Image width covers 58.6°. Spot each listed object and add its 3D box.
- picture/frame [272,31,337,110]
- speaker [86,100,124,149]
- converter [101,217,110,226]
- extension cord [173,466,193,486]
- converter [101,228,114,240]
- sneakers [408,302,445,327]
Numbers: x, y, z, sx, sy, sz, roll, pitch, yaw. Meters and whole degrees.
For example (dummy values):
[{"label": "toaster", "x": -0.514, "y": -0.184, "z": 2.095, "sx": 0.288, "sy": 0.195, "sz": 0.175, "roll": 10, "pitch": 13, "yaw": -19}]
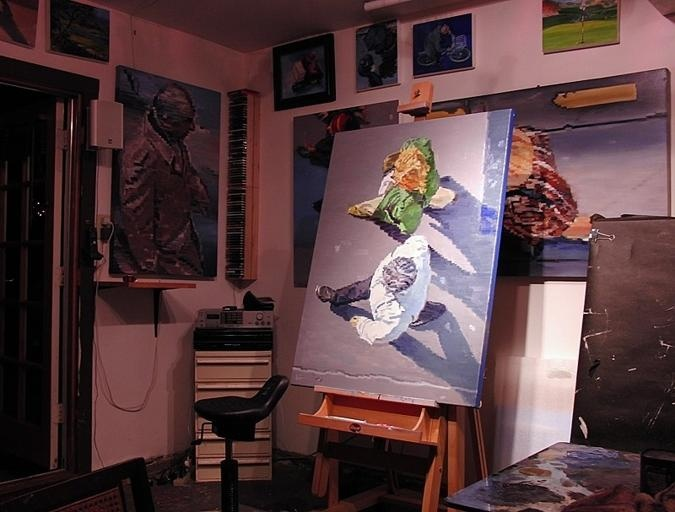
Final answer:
[{"label": "picture/frame", "x": -0.239, "y": -1.483, "z": 4.771, "sx": 0.714, "sy": 0.559, "sz": 0.070, "roll": 0, "pitch": 4, "yaw": 31}, {"label": "speaker", "x": -1.601, "y": -0.900, "z": 4.142, "sx": 0.218, "sy": 0.326, "sz": 0.110, "roll": 2, "pitch": -2, "yaw": -27}, {"label": "converter", "x": -1.632, "y": -0.247, "z": 4.220, "sx": 0.057, "sy": 0.059, "sz": 0.016, "roll": 3, "pitch": -2, "yaw": -38}, {"label": "extension cord", "x": -1.088, "y": 1.556, "z": 4.243, "sx": 0.125, "sy": 0.097, "sz": 0.080, "roll": 1, "pitch": -13, "yaw": -3}, {"label": "converter", "x": -1.634, "y": -0.168, "z": 4.236, "sx": 0.092, "sy": 0.134, "sz": 0.051, "roll": 2, "pitch": -2, "yaw": -25}, {"label": "sneakers", "x": 0.503, "y": 0.334, "z": 3.285, "sx": 0.042, "sy": 0.171, "sz": 0.110, "roll": 39, "pitch": 17, "yaw": -37}]
